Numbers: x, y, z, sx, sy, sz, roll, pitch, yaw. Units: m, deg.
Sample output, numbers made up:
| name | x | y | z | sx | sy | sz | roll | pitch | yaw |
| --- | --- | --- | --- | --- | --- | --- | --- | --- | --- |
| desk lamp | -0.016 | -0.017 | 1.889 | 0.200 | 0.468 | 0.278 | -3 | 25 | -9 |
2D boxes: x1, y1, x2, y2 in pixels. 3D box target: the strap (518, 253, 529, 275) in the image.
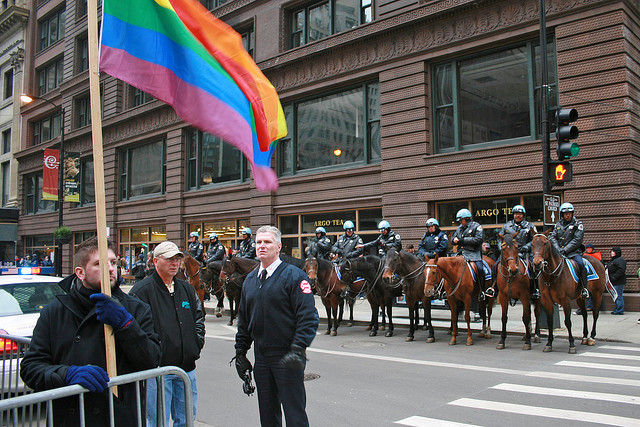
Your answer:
| name | x | y | z | sx | sy | sz | roll | pitch | yaw |
| --- | --- | --- | --- | --- | --- | --- | --- | --- | --- |
| strap | 6.673 | 1.637 | 22.235 | 0.171 | 0.691 | 0.384 | 3 | 4 | -40 |

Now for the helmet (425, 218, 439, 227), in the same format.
| name | x | y | z | sx | sy | sz | roll | pitch | yaw |
| --- | --- | --- | --- | --- | --- | --- | --- | --- | --- |
| helmet | 4.103 | 0.300 | 24.932 | 0.296 | 0.222 | 0.430 | -10 | -15 | 44 |

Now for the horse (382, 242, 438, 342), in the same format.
| name | x | y | z | sx | sy | sz | roll | pitch | yaw |
| --- | --- | --- | --- | --- | --- | --- | --- | --- | --- |
| horse | 3.565 | 2.849 | 24.505 | 1.138 | 3.147 | 4.393 | -7 | -9 | 33 |

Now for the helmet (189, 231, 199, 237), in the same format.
| name | x | y | z | sx | sy | sz | roll | pitch | yaw |
| --- | --- | --- | --- | --- | --- | --- | --- | --- | --- |
| helmet | -6.137 | 1.003 | 33.629 | 0.408 | 0.319 | 0.577 | 0 | -9 | 6 |

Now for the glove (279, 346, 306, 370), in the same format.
| name | x | y | z | sx | sy | sz | roll | pitch | yaw |
| --- | --- | --- | --- | --- | --- | --- | --- | --- | --- |
| glove | -0.563 | 3.121 | 14.857 | 0.523 | 0.386 | 0.190 | -35 | -3 | -6 |

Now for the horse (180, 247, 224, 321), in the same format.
| name | x | y | z | sx | sy | sz | roll | pitch | yaw |
| --- | --- | --- | --- | --- | --- | --- | --- | --- | --- |
| horse | -4.818 | 3.003 | 28.591 | 0.786 | 2.497 | 3.310 | -10 | -12 | 27 |

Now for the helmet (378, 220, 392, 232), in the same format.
| name | x | y | z | sx | sy | sz | roll | pitch | yaw |
| --- | --- | --- | --- | --- | --- | --- | --- | --- | --- |
| helmet | 2.424 | 0.476 | 26.238 | 0.353 | 0.384 | 0.476 | -10 | -4 | 39 |

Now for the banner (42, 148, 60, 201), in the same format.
| name | x | y | z | sx | sy | sz | roll | pitch | yaw |
| --- | --- | --- | --- | --- | --- | --- | --- | --- | --- |
| banner | -15.154 | -2.209 | 39.090 | 0.880 | 2.828 | 1.217 | -1 | 4 | 8 |

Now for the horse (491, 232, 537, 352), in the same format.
| name | x | y | z | sx | sy | sz | roll | pitch | yaw |
| --- | --- | --- | --- | --- | --- | --- | --- | --- | --- |
| horse | 6.503 | 2.771 | 23.252 | 1.377 | 3.508 | 4.902 | -3 | -12 | 16 |

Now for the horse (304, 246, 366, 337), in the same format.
| name | x | y | z | sx | sy | sz | roll | pitch | yaw |
| --- | --- | --- | --- | --- | --- | --- | --- | --- | --- |
| horse | 0.583 | 2.941 | 25.932 | 1.109 | 2.963 | 4.022 | -2 | -5 | 28 |

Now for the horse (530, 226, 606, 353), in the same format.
| name | x | y | z | sx | sy | sz | roll | pitch | yaw |
| --- | --- | --- | --- | --- | --- | --- | --- | --- | --- |
| horse | 8.130 | 2.596 | 22.580 | 1.490 | 3.789 | 5.223 | -5 | -10 | 44 |

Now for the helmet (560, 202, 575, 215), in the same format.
| name | x | y | z | sx | sy | sz | roll | pitch | yaw |
| --- | --- | --- | --- | --- | --- | --- | --- | --- | --- |
| helmet | 8.175 | -0.146 | 22.792 | 0.423 | 0.355 | 0.537 | -1 | 4 | 16 |

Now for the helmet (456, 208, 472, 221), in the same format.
| name | x | y | z | sx | sy | sz | roll | pitch | yaw |
| --- | --- | --- | --- | --- | --- | --- | --- | --- | --- |
| helmet | 5.097 | 0.030 | 24.222 | 0.530 | 0.291 | 0.366 | 2 | -2 | -18 |

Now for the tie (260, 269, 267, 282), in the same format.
| name | x | y | z | sx | sy | sz | roll | pitch | yaw |
| --- | --- | --- | --- | --- | --- | --- | --- | --- | --- |
| tie | -1.225 | 1.379 | 15.254 | 0.067 | 0.255 | 0.074 | 9 | -14 | 40 |

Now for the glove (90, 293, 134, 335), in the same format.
| name | x | y | z | sx | sy | sz | roll | pitch | yaw |
| --- | --- | --- | --- | --- | --- | --- | --- | --- | --- |
| glove | -4.118 | 1.964 | 13.666 | 0.742 | 0.800 | 0.256 | -3 | 4 | -21 |

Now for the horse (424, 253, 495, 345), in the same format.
| name | x | y | z | sx | sy | sz | roll | pitch | yaw |
| --- | --- | --- | --- | --- | --- | --- | --- | --- | --- |
| horse | 4.705 | 2.804 | 23.222 | 2.817 | 2.981 | 1.165 | -4 | 5 | -32 |

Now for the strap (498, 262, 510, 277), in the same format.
| name | x | y | z | sx | sy | sz | roll | pitch | yaw |
| --- | --- | --- | --- | --- | --- | --- | --- | --- | --- |
| strap | 5.983 | 1.750 | 22.404 | 0.087 | 0.370 | 0.358 | -27 | -30 | 8 |

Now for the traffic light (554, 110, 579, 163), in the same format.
| name | x | y | z | sx | sy | sz | roll | pitch | yaw |
| --- | --- | --- | --- | --- | --- | --- | --- | --- | --- |
| traffic light | 8.093 | -2.551 | 22.660 | 0.726 | 1.740 | 0.780 | -1 | 4 | 20 |

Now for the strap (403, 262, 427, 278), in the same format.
| name | x | y | z | sx | sy | sz | roll | pitch | yaw |
| --- | --- | --- | --- | --- | --- | --- | --- | --- | --- |
| strap | 3.246 | 1.958 | 23.743 | 1.194 | 0.124 | 0.122 | -22 | 24 | -10 |

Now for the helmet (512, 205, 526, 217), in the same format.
| name | x | y | z | sx | sy | sz | roll | pitch | yaw |
| --- | --- | --- | --- | --- | --- | --- | --- | --- | --- |
| helmet | 6.712 | -0.096 | 23.209 | 0.330 | 0.348 | 0.438 | 6 | 20 | 13 |

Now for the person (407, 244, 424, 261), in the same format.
| name | x | y | z | sx | sy | sz | roll | pitch | yaw |
| --- | --- | --- | --- | --- | --- | --- | --- | --- | --- |
| person | 3.602 | 1.448 | 26.236 | 0.245 | 0.409 | 0.858 | -14 | -29 | 40 |

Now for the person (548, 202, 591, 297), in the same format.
| name | x | y | z | sx | sy | sz | roll | pitch | yaw |
| --- | --- | --- | --- | --- | --- | --- | --- | --- | --- |
| person | 8.186 | 1.169 | 22.592 | 1.198 | 2.995 | 1.159 | -7 | -5 | 44 |
